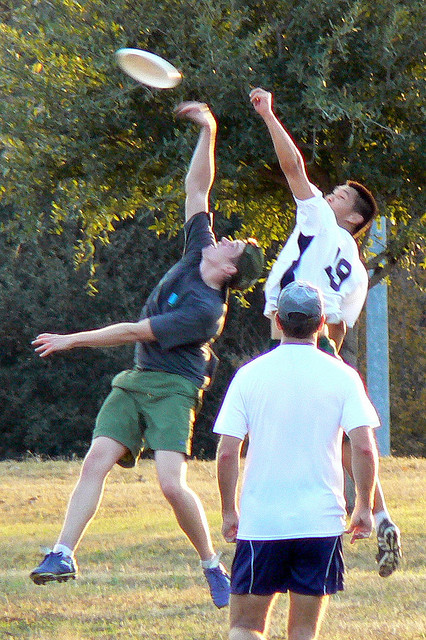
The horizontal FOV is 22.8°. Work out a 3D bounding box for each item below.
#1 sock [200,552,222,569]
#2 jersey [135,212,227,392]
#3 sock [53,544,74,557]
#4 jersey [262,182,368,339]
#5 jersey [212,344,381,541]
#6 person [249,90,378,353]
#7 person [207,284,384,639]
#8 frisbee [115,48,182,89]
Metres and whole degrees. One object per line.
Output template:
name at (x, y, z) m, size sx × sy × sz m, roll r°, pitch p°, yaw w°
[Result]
sock at (-0.012, 1.229, 5.407) m, size 0.100 × 0.086 × 0.072 m, roll 6°, pitch -11°, yaw -23°
jersey at (-0.174, -0.089, 5.428) m, size 0.489 × 0.939 × 0.437 m, roll 0°, pitch 4°, yaw -13°
sock at (-0.709, 1.092, 4.988) m, size 0.063 × 0.044 × 0.062 m, roll 11°, pitch -19°, yaw -28°
jersey at (0.510, -0.303, 5.030) m, size 0.516 × 0.684 × 0.317 m, roll 1°, pitch 4°, yaw -5°
jersey at (0.317, 0.464, 3.992) m, size 0.703 × 0.721 × 0.264 m, roll 1°, pitch 0°, yaw 20°
person at (0.628, -0.748, 6.596) m, size 0.635 × 1.154 × 1.782 m, roll -6°, pitch 37°, yaw 23°
person at (0.307, 0.523, 4.000) m, size 0.623 × 1.309 × 0.319 m, roll 2°, pitch 4°, yaw 6°
frisbee at (-0.391, -1.520, 6.337) m, size 0.380 × 0.267 × 0.231 m, roll 3°, pitch 4°, yaw 21°
